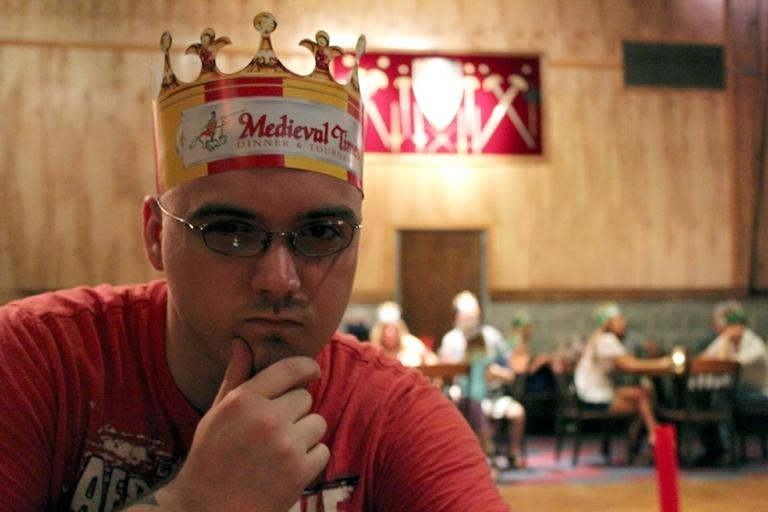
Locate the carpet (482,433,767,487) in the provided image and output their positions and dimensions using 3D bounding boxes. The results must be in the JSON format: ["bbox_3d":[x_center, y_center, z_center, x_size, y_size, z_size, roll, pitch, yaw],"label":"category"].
[{"bbox_3d":[1.092,0.913,4.501,1.107,0.146,0.634,-2,-2,13],"label":"carpet"}]

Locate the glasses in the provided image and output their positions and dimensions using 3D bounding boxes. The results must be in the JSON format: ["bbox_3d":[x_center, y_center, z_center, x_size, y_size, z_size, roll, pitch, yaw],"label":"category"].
[{"bbox_3d":[-0.375,-0.058,3.135,0.479,0.126,0.050,-1,-1,-5],"label":"glasses"}]
